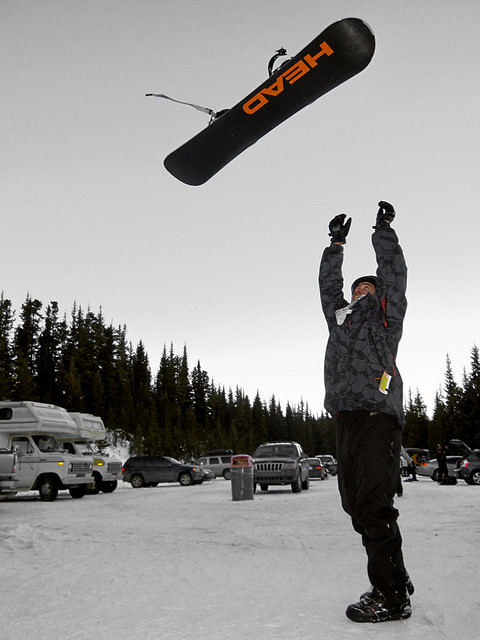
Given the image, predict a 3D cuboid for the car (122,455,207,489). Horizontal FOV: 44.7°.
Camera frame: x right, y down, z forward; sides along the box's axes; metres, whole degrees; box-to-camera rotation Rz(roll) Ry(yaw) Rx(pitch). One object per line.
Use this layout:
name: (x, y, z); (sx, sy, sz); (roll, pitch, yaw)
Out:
car: (-3.324, 6.611, 25.499); (3.303, 1.503, 1.610); (-6, -15, 7)

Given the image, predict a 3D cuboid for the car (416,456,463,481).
car: (8.476, 6.176, 24.578); (1.909, 0.682, 0.843); (-4, -9, -5)

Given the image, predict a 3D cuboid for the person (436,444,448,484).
person: (7.257, 5.181, 20.913); (0.388, 1.428, 1.374); (-5, -11, 18)

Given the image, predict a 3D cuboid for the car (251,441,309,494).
car: (1.226, 4.364, 17.235); (1.097, 0.964, 2.003); (-4, -30, 10)

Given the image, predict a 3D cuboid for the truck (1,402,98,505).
truck: (-4.670, 3.812, 16.972); (3.791, 2.346, 2.160); (-10, -15, 25)

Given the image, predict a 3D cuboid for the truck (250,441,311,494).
truck: (1.296, 4.331, 17.318); (1.215, 0.991, 2.189); (-4, -26, 9)

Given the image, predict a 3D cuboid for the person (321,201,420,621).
person: (0.760, 0.420, 3.426); (0.516, 2.372, 0.769); (-3, -10, 8)

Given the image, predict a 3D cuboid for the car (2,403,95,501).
car: (-5.666, 3.775, 16.945); (3.451, 2.249, 2.004); (-9, -15, 25)
